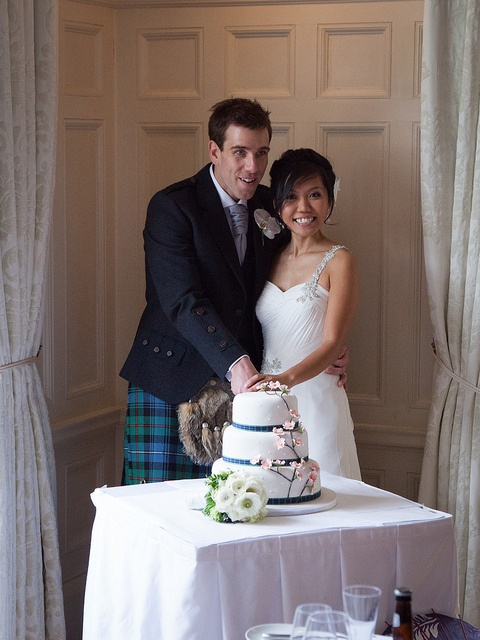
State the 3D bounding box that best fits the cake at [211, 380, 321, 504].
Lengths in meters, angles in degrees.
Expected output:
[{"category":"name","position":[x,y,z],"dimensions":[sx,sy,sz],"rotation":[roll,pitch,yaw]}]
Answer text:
[{"category":"cake","position":[0.062,0.232,1.098],"dimensions":[0.186,0.218,0.217],"rotation":[0,-4,5]}]
